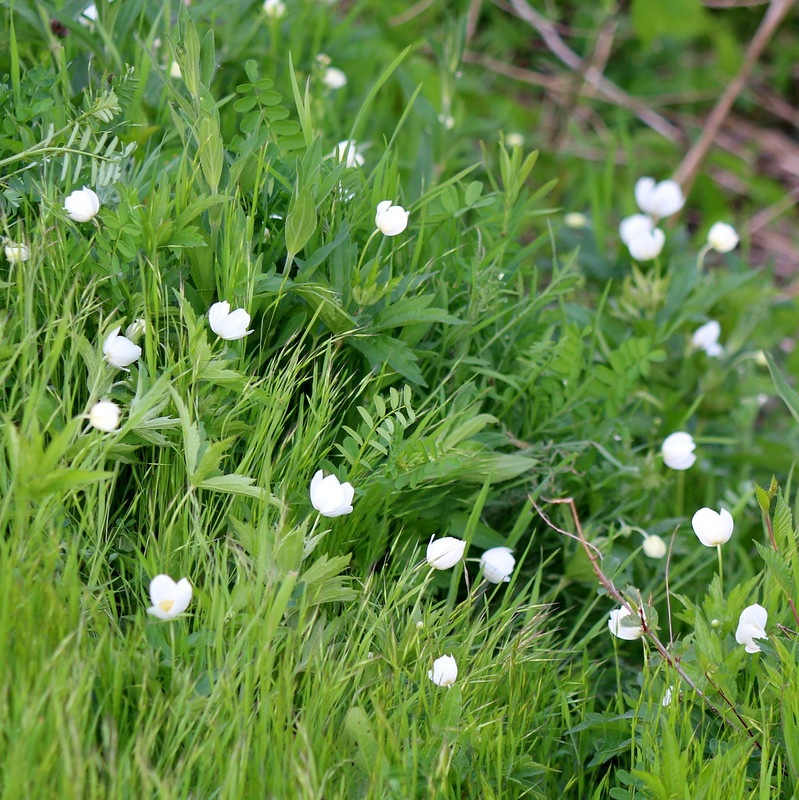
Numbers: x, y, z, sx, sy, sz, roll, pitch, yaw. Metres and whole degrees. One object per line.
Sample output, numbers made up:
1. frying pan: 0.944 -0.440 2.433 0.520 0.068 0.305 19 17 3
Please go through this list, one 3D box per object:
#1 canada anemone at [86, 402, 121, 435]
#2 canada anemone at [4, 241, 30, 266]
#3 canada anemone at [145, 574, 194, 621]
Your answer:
1. canada anemone: -0.281 0.022 0.894 0.018 0.035 0.034 21 4 29
2. canada anemone: -0.424 -0.167 1.029 0.024 0.026 0.038 -4 34 -11
3. canada anemone: -0.214 0.187 0.876 0.036 0.030 0.041 -8 40 16
